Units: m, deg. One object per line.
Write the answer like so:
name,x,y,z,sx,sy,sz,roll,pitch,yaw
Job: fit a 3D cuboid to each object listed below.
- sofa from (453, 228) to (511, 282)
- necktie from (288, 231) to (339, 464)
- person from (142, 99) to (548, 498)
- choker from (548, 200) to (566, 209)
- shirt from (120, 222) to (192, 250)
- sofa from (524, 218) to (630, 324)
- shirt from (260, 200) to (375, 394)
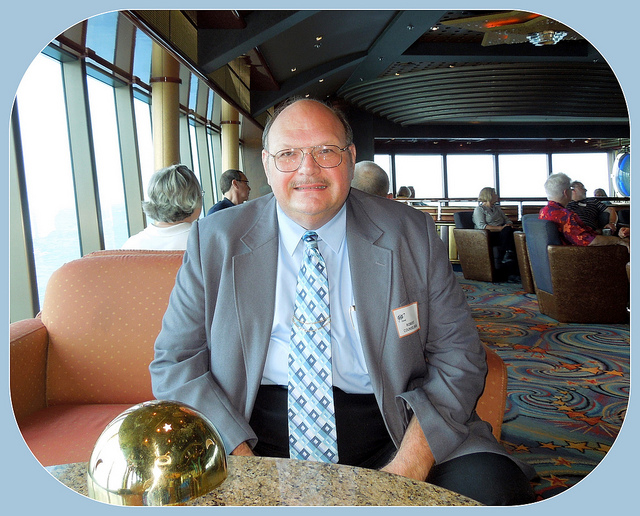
sofa,2.725,-0.091,7.061,0.969,0.773,1.017,-5,7,13
necktie,-0.017,0.237,1.276,0.140,0.659,0.086,1,-9,3
person,0.041,0.060,1.354,1.057,1.120,0.360,-1,-9,9
choker,2.541,-0.585,4.730,0.084,0.067,0.088,9,6,11
shirt,-0.863,-0.113,2.332,0.325,0.197,0.264,5,-11,-22
sofa,2.808,0.103,4.965,0.734,1.033,1.422,-2,4,13
shirt,-0.009,0.138,1.307,0.319,0.575,0.137,0,-5,1
